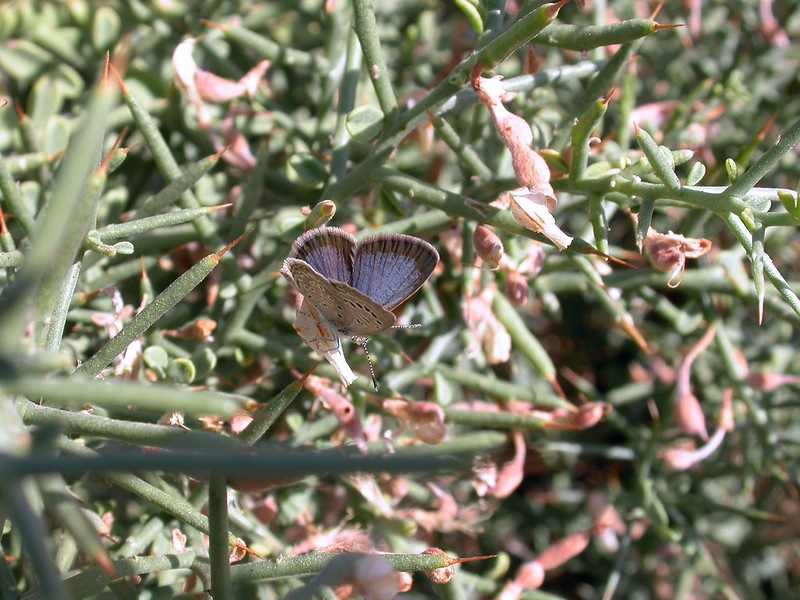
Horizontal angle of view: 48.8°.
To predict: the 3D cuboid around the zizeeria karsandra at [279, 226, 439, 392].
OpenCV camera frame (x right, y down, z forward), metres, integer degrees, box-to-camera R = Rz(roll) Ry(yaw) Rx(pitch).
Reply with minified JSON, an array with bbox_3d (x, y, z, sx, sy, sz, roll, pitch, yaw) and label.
[{"bbox_3d":[-0.096,0.017,1.296,0.245,0.271,0.176,22,65,-2],"label":"zizeeria karsandra"}]
